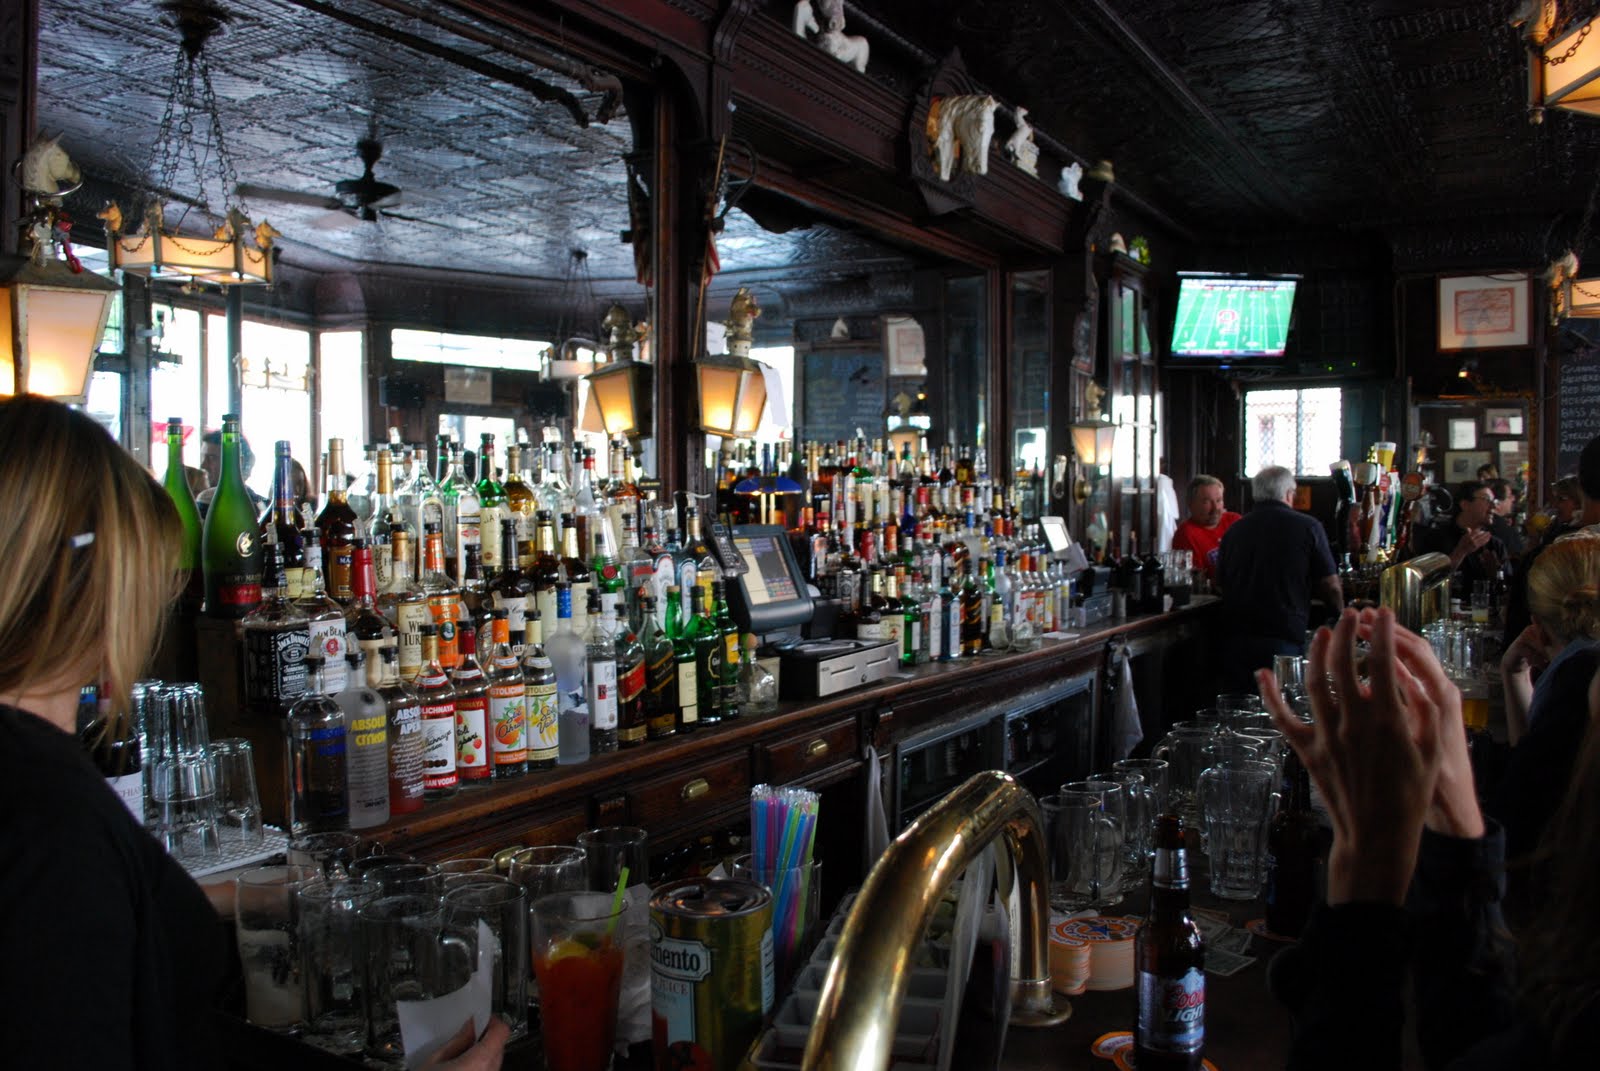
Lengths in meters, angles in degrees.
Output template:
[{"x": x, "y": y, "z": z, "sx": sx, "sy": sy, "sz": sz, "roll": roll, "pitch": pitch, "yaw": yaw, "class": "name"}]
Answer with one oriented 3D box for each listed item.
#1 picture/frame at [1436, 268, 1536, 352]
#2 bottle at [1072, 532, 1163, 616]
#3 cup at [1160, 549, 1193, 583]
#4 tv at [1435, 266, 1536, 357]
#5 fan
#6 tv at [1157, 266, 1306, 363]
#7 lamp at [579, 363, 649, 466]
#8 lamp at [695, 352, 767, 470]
[{"x": 5.629, "y": -1.875, "z": 10.427, "sx": 0.670, "sy": 0.656, "sz": 0.068, "roll": -2, "pitch": 16, "yaw": 7, "class": "picture/frame"}, {"x": 1.561, "y": 0.242, "z": 6.235, "sx": 0.478, "sy": 0.453, "sz": 0.420, "roll": -1, "pitch": 6, "yaw": -10, "class": "bottle"}, {"x": 2.131, "y": 0.175, "z": 7.224, "sx": 0.158, "sy": 0.153, "sz": 0.116, "roll": 1, "pitch": -14, "yaw": -8, "class": "cup"}, {"x": 5.621, "y": -1.870, "z": 10.433, "sx": 0.720, "sy": 0.703, "sz": 0.072, "roll": -2, "pitch": 14, "yaw": 6, "class": "tv"}, {"x": -2.575, "y": -1.995, "z": 7.438, "sx": 0.929, "sy": 0.364, "sz": 0.874, "roll": 1, "pitch": -4, "yaw": 36, "class": "fan"}, {"x": 3.403, "y": -1.763, "z": 10.200, "sx": 0.955, "sy": 0.668, "sz": 0.103, "roll": 3, "pitch": 8, "yaw": 2, "class": "tv"}, {"x": -0.601, "y": -0.448, "z": 4.554, "sx": 0.278, "sy": 0.311, "sz": 0.309, "roll": 4, "pitch": -16, "yaw": -40, "class": "lamp"}, {"x": -0.243, "y": -0.465, "z": 4.453, "sx": 0.269, "sy": 0.380, "sz": 0.317, "roll": -1, "pitch": 3, "yaw": -3, "class": "lamp"}]
